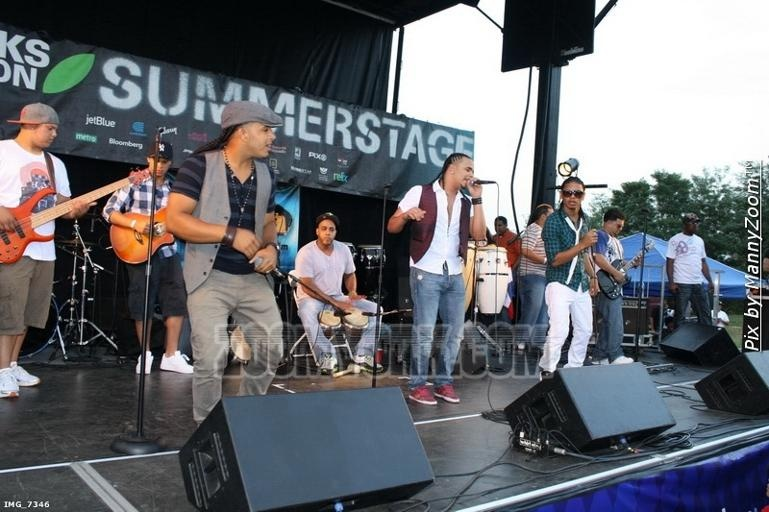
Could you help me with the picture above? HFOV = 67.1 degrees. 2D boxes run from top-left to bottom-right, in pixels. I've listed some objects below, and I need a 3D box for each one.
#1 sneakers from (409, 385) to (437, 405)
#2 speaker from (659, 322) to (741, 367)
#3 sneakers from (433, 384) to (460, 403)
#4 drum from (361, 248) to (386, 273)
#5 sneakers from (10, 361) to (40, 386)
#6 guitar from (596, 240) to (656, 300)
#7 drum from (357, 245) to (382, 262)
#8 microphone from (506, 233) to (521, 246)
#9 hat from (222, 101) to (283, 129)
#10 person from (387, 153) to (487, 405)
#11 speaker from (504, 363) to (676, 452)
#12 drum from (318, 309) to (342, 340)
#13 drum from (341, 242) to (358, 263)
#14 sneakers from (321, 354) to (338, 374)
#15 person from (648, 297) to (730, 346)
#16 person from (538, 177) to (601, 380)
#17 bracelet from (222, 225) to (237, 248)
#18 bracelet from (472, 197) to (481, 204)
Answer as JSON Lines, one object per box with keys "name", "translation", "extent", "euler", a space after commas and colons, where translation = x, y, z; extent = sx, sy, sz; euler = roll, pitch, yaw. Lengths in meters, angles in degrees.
{"name": "sneakers", "translation": [0.378, 1.396, 5.812], "extent": [0.119, 0.141, 0.342], "euler": [6, -9, -40]}
{"name": "speaker", "translation": [4.585, 1.148, 8.324], "extent": [0.700, 0.515, 0.758], "euler": [-1, -1, -24]}
{"name": "sneakers", "translation": [0.632, 1.407, 5.924], "extent": [0.115, 0.135, 0.335], "euler": [7, -11, -30]}
{"name": "drum", "translation": [-0.148, 0.052, 8.144], "extent": [0.327, 0.324, 0.331], "euler": [-1, -2, -7]}
{"name": "sneakers", "translation": [-3.613, 1.158, 5.694], "extent": [0.374, 0.174, 0.138], "euler": [12, -1, -1]}
{"name": "guitar", "translation": [3.239, 0.050, 7.905], "extent": [0.165, 0.614, 1.419], "euler": [-29, 5, 43]}
{"name": "drum", "translation": [-0.216, -0.056, 8.267], "extent": [0.265, 0.206, 0.266], "euler": [0, 3, 0]}
{"name": "microphone", "translation": [2.022, -0.252, 8.975], "extent": [0.195, 0.084, 0.276], "euler": [-8, -1, 8]}
{"name": "hat", "translation": [-0.996, -1.047, 4.313], "extent": [0.340, 0.140, 0.233], "euler": [-6, 11, -10]}
{"name": "person", "translation": [0.553, 0.200, 5.804], "extent": [0.914, 2.525, 0.675], "euler": [5, -5, -44]}
{"name": "speaker", "translation": [1.665, 1.194, 4.634], "extent": [1.216, 0.659, 0.529], "euler": [3, -3, -10]}
{"name": "drum", "translation": [-0.659, 0.771, 6.899], "extent": [0.315, 0.317, 0.329], "euler": [0, -36, -12]}
{"name": "drum", "translation": [-0.444, -0.085, 8.187], "extent": [0.221, 0.210, 0.205], "euler": [-2, 4, -41]}
{"name": "sneakers", "translation": [-0.652, 1.276, 6.828], "extent": [0.241, 0.238, 0.172], "euler": [0, 2, -7]}
{"name": "person", "translation": [5.256, 1.144, 10.053], "extent": [0.980, 0.697, 0.545], "euler": [1, 8, 16]}
{"name": "person", "translation": [2.038, 0.234, 6.363], "extent": [0.552, 2.225, 0.552], "euler": [2, -3, -4]}
{"name": "bracelet", "translation": [-1.108, -0.143, 4.140], "extent": [0.102, 0.138, 0.061], "euler": [3, -3, -13]}
{"name": "bracelet", "translation": [0.931, -0.560, 5.816], "extent": [0.063, 0.042, 0.065], "euler": [-1, 1, 22]}
